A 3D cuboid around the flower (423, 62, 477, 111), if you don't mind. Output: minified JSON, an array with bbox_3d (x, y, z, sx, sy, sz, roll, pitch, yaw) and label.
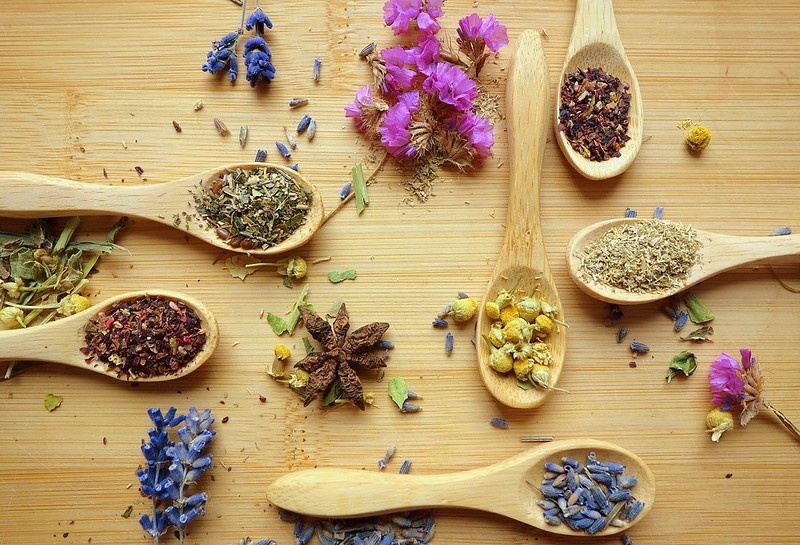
[{"bbox_3d":[0.219,-0.827,3.943,0.242,0.101,0.207,22,71,3],"label":"flower"}]

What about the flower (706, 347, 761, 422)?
[{"bbox_3d":[1.542,0.526,3.960,0.237,0.255,0.301,-7,59,-5],"label":"flower"}]

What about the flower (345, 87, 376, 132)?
[{"bbox_3d":[-0.181,-0.750,3.962,0.100,0.194,0.167,1,82,-34],"label":"flower"}]

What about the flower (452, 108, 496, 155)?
[{"bbox_3d":[0.339,-0.637,3.928,0.197,0.093,0.188,14,91,-5],"label":"flower"}]

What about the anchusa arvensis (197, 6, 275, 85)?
[{"bbox_3d":[-0.722,-1.015,3.947,0.267,0.147,0.421,8,61,4],"label":"anchusa arvensis"}]

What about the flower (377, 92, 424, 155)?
[{"bbox_3d":[-0.004,-0.668,3.901,0.127,0.242,0.253,9,50,-35],"label":"flower"}]

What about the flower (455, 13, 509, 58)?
[{"bbox_3d":[0.362,-1.089,3.939,0.256,0.137,0.233,-6,54,-10],"label":"flower"}]
